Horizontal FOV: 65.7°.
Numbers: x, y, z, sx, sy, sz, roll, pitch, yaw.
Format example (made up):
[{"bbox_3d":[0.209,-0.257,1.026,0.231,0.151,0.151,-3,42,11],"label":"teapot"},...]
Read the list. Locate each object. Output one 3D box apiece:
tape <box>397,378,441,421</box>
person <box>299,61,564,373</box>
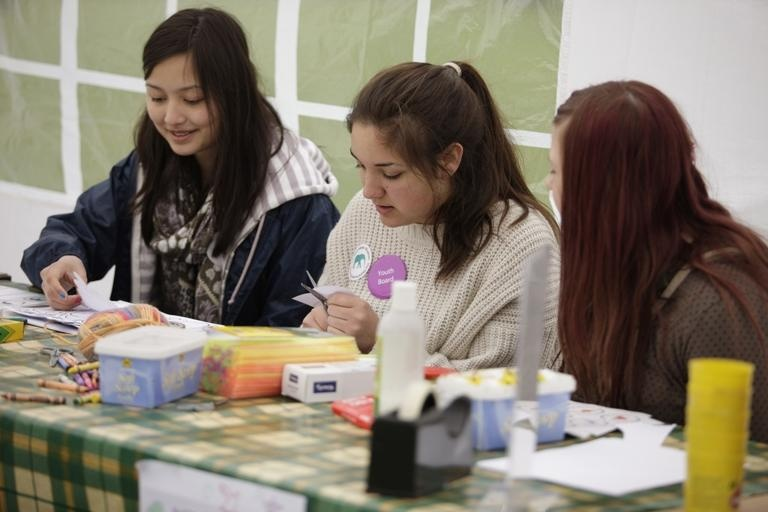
[{"bbox_3d":[0.055,0.246,1.036,0.059,0.057,0.080,4,11,13],"label":"tape"},{"bbox_3d":[0.165,-0.126,2.171,1.041,1.090,0.730,14,17,41],"label":"person"}]
